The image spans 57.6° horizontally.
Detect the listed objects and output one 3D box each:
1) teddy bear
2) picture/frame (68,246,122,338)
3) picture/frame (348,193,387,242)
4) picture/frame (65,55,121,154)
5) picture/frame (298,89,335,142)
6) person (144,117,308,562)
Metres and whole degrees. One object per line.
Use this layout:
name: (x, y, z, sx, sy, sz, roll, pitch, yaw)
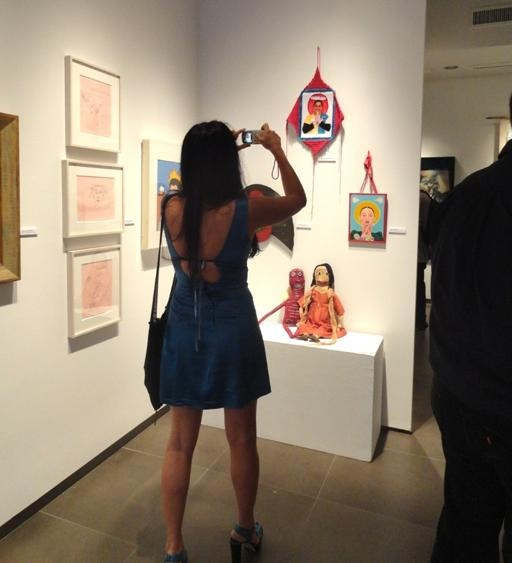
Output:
teddy bear: (0.399, 0.104, 2.882, 0.315, 0.633, 0.362, 1, 0, 20)
picture/frame: (-0.806, 0.040, 2.299, 0.033, 0.426, 0.373, 3, 5, 16)
picture/frame: (0.678, -0.388, 2.871, 0.224, 0.380, 0.013, 6, 49, 18)
picture/frame: (-0.778, -0.835, 2.196, 0.036, 0.483, 0.425, 3, 7, 16)
picture/frame: (0.376, -1.034, 2.926, 0.214, 0.403, 0.039, 2, -25, 7)
person: (-0.095, 0.273, 1.610, 0.467, 1.608, 0.350, -1, 5, -20)
